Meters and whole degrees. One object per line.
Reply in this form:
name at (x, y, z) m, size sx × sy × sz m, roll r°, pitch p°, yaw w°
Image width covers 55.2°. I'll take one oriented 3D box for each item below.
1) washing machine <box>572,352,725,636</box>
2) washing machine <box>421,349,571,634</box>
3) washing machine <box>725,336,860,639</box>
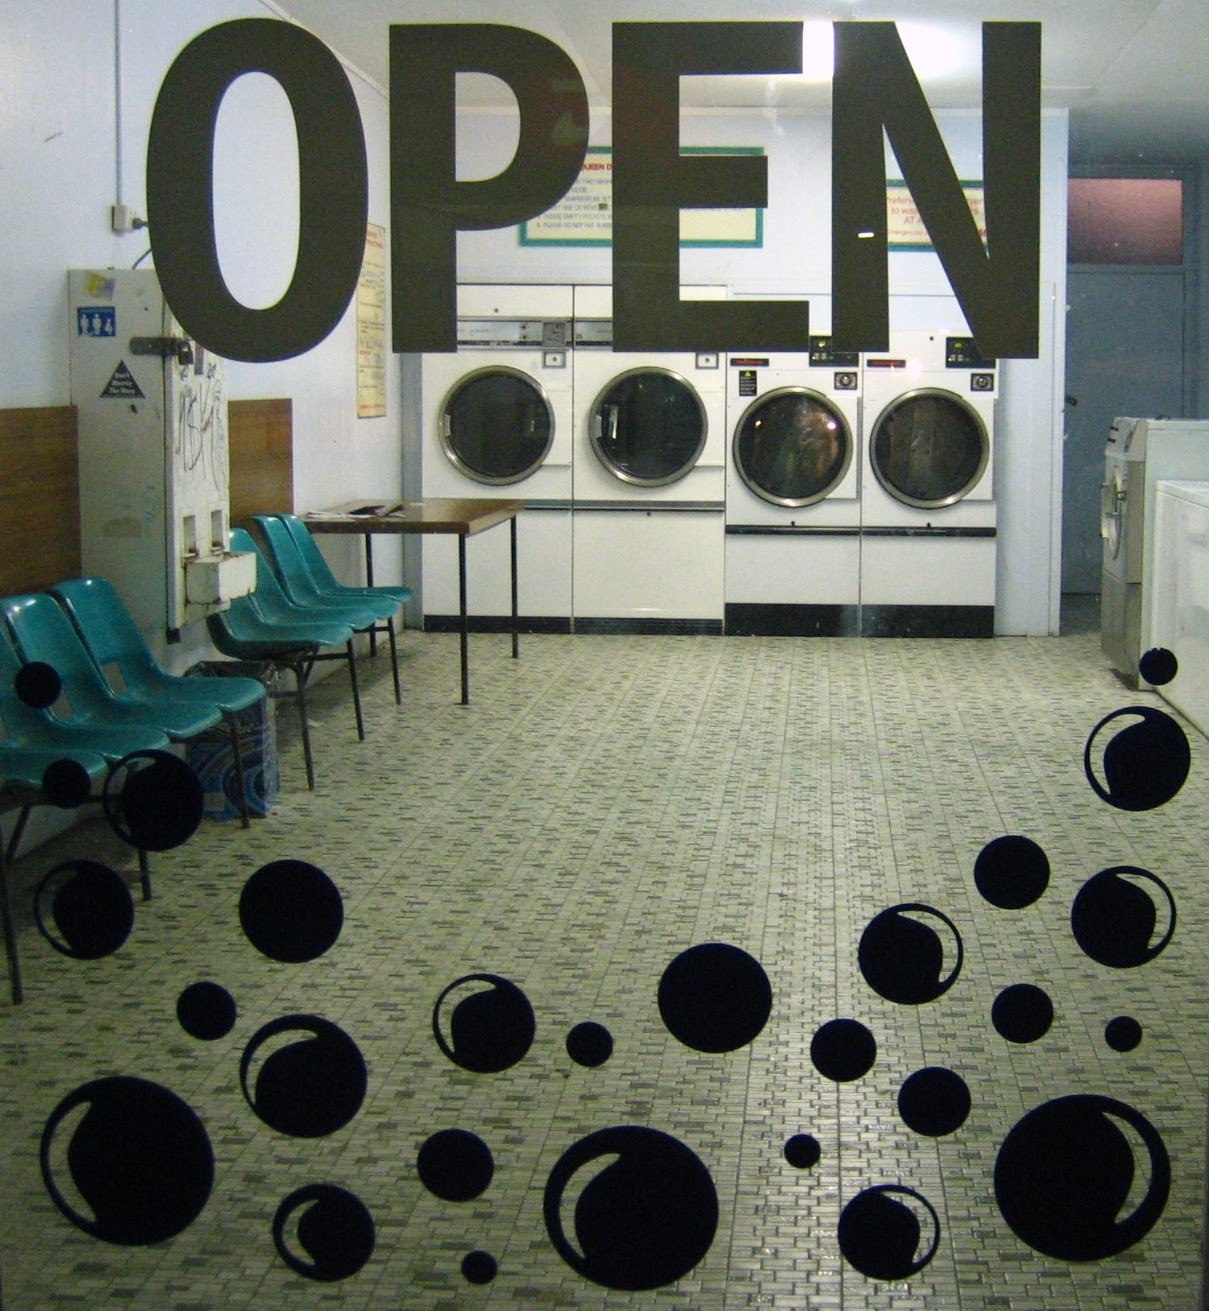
washing machine at (0.235, -0.802, 6.742) m, size 0.881 × 1.718 × 0.861 m, roll 0°, pitch -14°, yaw 0°
washing machine at (-0.384, -0.551, 4.254) m, size 0.577 × 1.124 × 0.592 m, roll 0°, pitch -8°, yaw 0°
washing machine at (1.009, -0.786, 6.250) m, size 0.755 × 1.440 × 0.688 m, roll 1°, pitch 9°, yaw 12°
